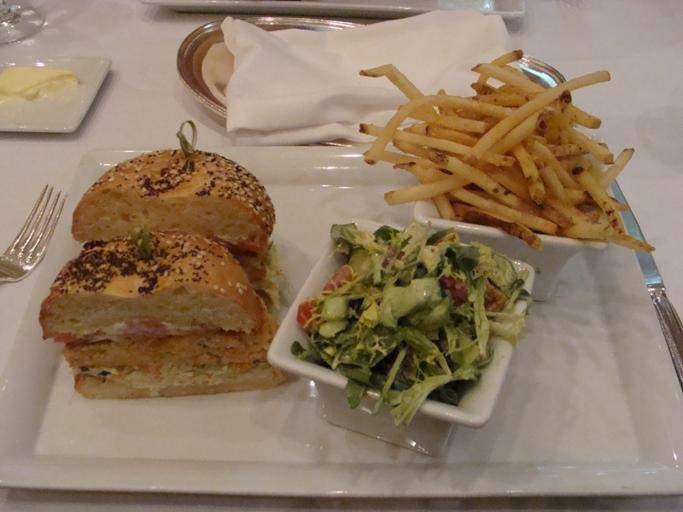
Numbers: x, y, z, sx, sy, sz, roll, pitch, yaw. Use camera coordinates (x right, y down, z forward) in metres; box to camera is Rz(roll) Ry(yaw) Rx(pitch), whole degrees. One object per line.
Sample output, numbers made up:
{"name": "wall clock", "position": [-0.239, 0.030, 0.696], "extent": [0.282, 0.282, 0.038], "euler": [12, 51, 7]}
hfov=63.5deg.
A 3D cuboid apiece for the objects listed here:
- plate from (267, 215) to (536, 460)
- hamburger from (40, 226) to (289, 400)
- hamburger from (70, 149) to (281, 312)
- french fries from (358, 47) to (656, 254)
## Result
{"name": "plate", "position": [0.177, 0.317, 1.880], "extent": [0.794, 0.496, 0.689], "euler": [15, 55, 12]}
{"name": "hamburger", "position": [-0.653, 0.223, 2.007], "extent": [0.699, 0.409, 0.664], "euler": [-1, 36, -5]}
{"name": "hamburger", "position": [-0.623, -0.205, 2.284], "extent": [0.678, 0.335, 0.598], "euler": [9, 46, -7]}
{"name": "french fries", "position": [0.512, -0.389, 2.151], "extent": [1.080, 0.320, 0.691], "euler": [13, 65, 21]}
